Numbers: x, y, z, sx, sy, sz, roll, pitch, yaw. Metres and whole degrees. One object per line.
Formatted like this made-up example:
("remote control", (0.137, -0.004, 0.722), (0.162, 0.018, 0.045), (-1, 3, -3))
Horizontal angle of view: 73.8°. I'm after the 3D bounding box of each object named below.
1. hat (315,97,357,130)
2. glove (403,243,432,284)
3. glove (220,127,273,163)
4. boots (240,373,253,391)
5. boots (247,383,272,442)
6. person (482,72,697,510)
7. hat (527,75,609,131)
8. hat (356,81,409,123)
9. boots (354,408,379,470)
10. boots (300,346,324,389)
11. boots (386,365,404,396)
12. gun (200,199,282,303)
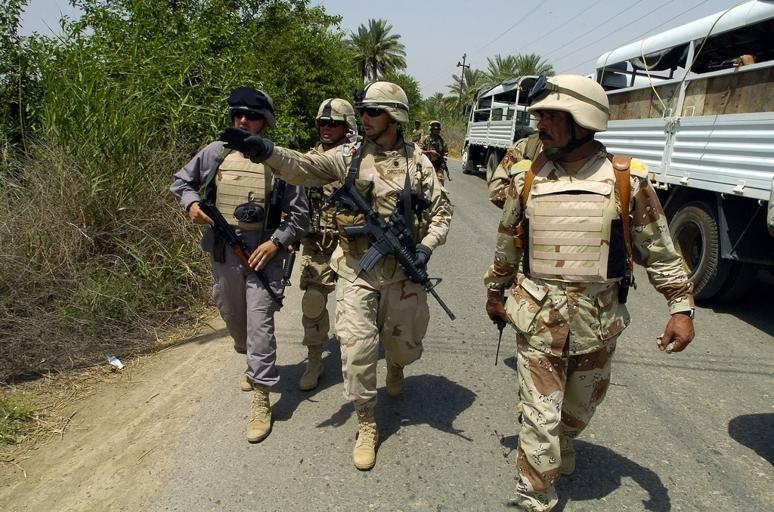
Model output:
("hat", (-0.488, -1.411, 5.202), (0.291, 0.284, 0.367), (10, 31, 20))
("glove", (0.255, 0.022, 4.182), (0.209, 0.432, 0.115), (-13, 27, -22))
("glove", (-0.971, -0.748, 3.487), (0.132, 0.206, 0.322), (10, -14, 46))
("boots", (-1.296, 1.156, 4.679), (0.126, 0.143, 0.366), (2, -4, -10))
("boots", (-1.056, 1.320, 4.277), (0.159, 0.198, 0.469), (0, 8, -2))
("person", (1.330, 0.268, 3.638), (1.159, 2.907, 0.923), (-7, 18, -13))
("hat", (1.250, -1.028, 3.534), (0.529, 0.370, 0.262), (4, 19, 18))
("hat", (-0.017, -1.236, 4.104), (0.375, 0.234, 0.367), (-11, 23, -23))
("boots", (-0.172, 1.418, 4.096), (0.183, 0.325, 0.515), (-5, 16, 6))
("boots", (-0.727, 1.042, 4.934), (0.166, 0.325, 0.448), (-1, 9, 15))
("boots", (0.080, 1.138, 4.759), (0.145, 0.295, 0.127), (0, 10, 4))
("gun", (-1.231, -0.053, 4.443), (0.329, 0.905, 0.122), (-30, 5, 23))
